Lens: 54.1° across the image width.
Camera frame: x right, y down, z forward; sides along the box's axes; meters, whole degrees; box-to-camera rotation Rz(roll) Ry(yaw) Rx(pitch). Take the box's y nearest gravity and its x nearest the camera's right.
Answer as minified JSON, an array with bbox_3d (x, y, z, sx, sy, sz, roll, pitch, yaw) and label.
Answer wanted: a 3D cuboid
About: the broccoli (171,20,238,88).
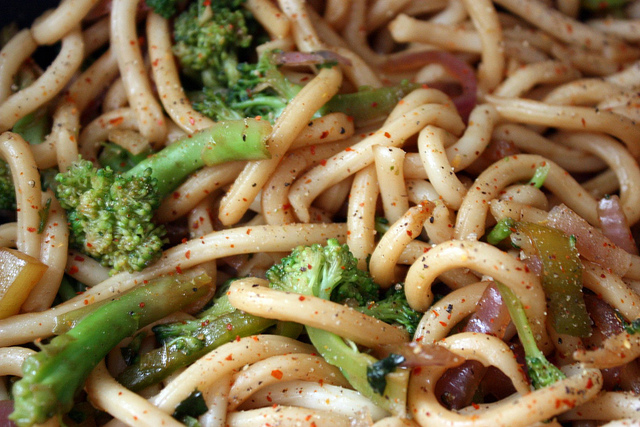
[{"bbox_3d":[-0.662,-0.966,3.777,0.303,0.361,0.308,-36,-3,32],"label":"broccoli"}]

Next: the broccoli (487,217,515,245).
[{"bbox_3d":[0.951,0.095,3.315,0.083,0.153,0.058,44,37,14],"label":"broccoli"}]
